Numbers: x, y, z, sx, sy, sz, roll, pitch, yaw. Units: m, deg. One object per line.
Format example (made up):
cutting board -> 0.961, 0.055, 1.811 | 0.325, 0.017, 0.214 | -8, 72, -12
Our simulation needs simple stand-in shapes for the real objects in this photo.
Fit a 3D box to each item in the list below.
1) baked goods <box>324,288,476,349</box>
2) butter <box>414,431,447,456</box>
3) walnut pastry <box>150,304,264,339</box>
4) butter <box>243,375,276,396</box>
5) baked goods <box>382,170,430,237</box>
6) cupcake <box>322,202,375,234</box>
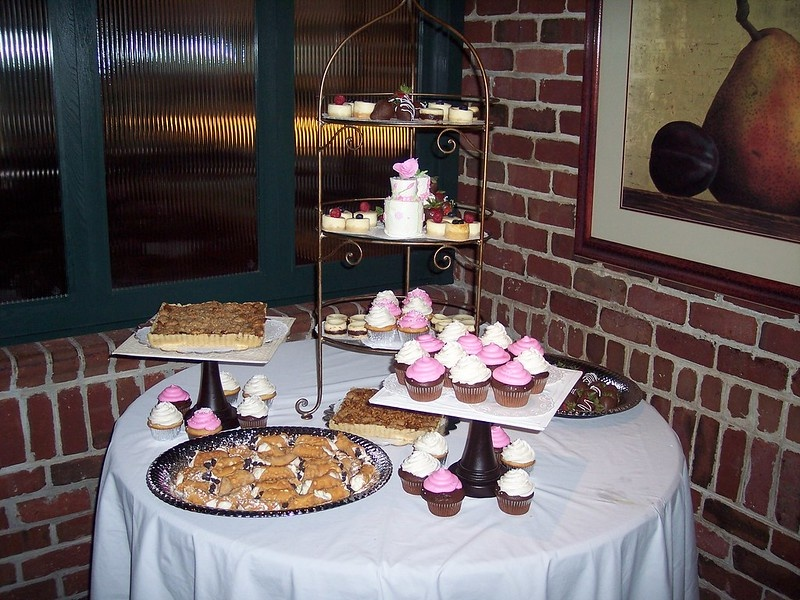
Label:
baked goods -> -0.019, -0.004, 2.456 | 0.534, 0.229, 0.522 | -7, 15, -25
butter -> 0.092, 0.421, 1.803 | 0.070, 0.046, 0.069 | 2, -2, 6
walnut pastry -> -0.681, 0.066, 2.201 | 0.299, 0.056, 0.189 | 0, 24, -6
butter -> -0.501, 0.294, 2.168 | 0.079, 0.049, 0.081 | 2, 1, 15
baked goods -> 0.020, -0.340, 2.110 | 0.189, 0.270, 0.189 | 3, 9, 4
cupcake -> -0.181, -0.307, 2.243 | 0.213, 0.104, 0.298 | -1, 17, -7
